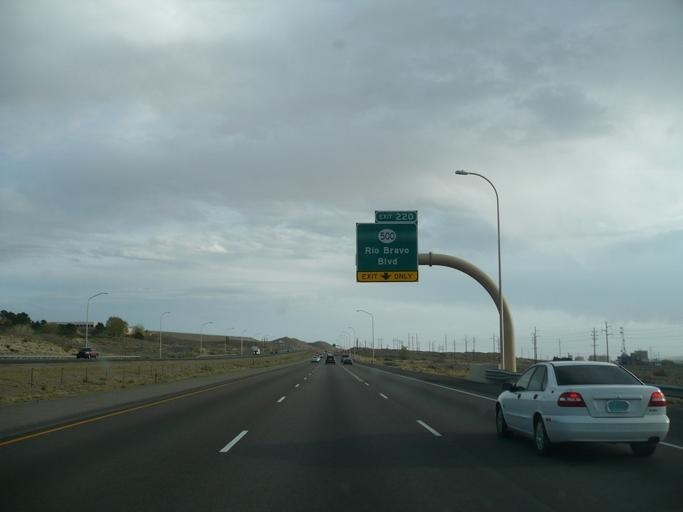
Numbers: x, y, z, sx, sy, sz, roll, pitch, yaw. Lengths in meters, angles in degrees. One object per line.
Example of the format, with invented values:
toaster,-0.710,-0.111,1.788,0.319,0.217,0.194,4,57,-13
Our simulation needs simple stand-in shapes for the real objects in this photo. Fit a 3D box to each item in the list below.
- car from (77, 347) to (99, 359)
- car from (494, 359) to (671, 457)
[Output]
car,-31.084,12.005,77.863,1.438,1.164,2.541,1,-15,-7
car,5.343,3.394,14.209,3.455,2.016,2.062,-3,-8,32
